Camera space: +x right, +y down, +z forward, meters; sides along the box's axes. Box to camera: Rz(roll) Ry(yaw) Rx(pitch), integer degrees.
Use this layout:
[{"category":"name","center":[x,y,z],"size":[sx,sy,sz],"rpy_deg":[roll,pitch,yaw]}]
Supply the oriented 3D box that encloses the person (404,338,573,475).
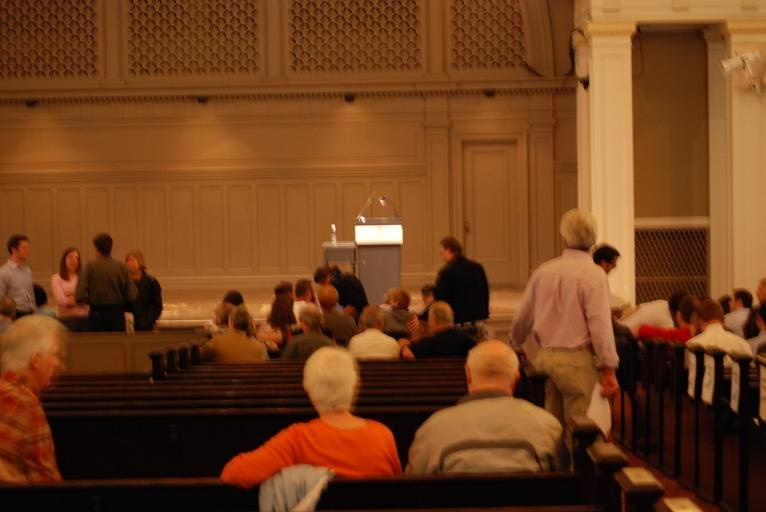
[{"category":"person","center":[0.809,1.242,6.781],"size":[1.314,1.186,0.772],"rpy_deg":[-7,0,17]}]

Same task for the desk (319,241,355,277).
[{"category":"desk","center":[-0.626,0.004,12.350],"size":[0.440,0.538,0.371],"rpy_deg":[0,2,7]}]

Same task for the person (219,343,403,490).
[{"category":"person","center":[-0.418,1.193,6.768],"size":[1.502,1.138,0.841],"rpy_deg":[-2,9,-26]}]

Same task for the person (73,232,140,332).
[{"category":"person","center":[-3.197,0.294,10.494],"size":[0.638,1.125,0.362],"rpy_deg":[-3,4,-14]}]
